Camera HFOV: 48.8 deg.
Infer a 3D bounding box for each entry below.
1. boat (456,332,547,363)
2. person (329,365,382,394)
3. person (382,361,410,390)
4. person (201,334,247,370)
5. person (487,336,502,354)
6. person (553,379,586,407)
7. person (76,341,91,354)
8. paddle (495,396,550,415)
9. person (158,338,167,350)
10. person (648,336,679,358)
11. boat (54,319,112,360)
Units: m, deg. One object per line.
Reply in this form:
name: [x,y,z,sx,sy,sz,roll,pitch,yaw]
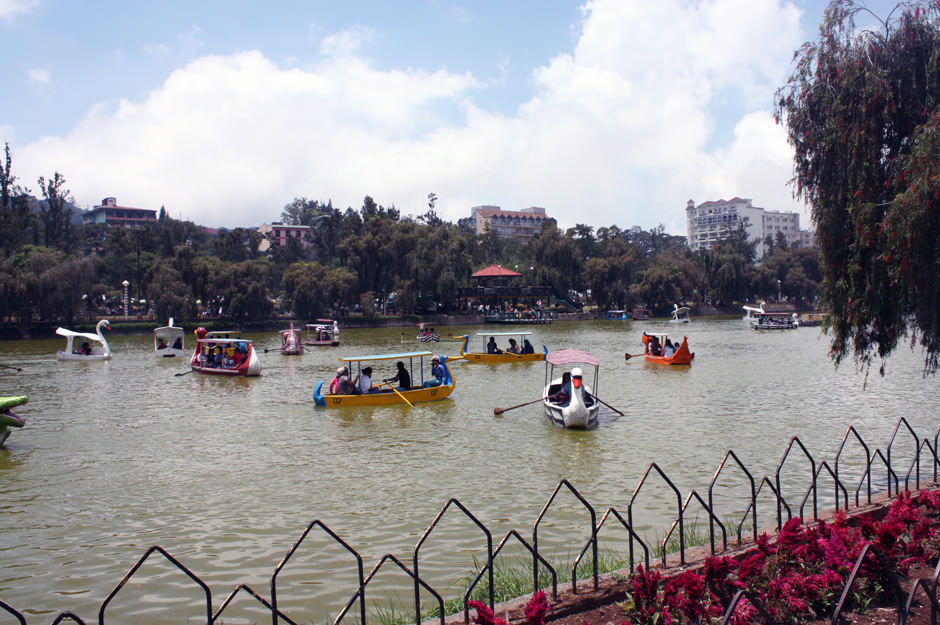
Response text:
boat: [1.659,1.944,51.308,4.154,1.368,1.931,-2,2,-3]
person: [-3.809,2.253,34.752,1.581,0.810,0.891,2,-3,-11]
person: [-2.387,2.126,35.394,0.942,1.266,0.750,3,0,4]
person: [-10.494,1.737,45.203,1.349,0.967,1.837,1,6,-33]
person: [1.359,1.711,55.140,0.541,0.903,0.529,9,24,31]
person: [2.980,2.346,30.741,0.621,0.539,0.952,1,0,-14]
person: [-20.255,1.847,54.792,0.562,0.530,0.686,1,4,-31]
paddle: [1.729,3.036,33.785,1.583,0.198,0.317,-11,39,2]
person: [-16.116,1.628,54.774,0.245,0.735,0.464,15,-13,-19]
person: [8.882,1.531,47.835,0.669,0.982,1.852,3,0,-44]
boat: [-21.876,1.544,58.668,2.951,2.629,2.050,1,1,-10]
